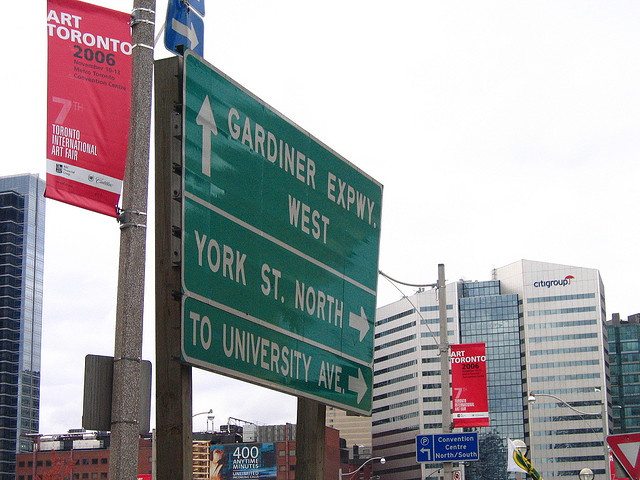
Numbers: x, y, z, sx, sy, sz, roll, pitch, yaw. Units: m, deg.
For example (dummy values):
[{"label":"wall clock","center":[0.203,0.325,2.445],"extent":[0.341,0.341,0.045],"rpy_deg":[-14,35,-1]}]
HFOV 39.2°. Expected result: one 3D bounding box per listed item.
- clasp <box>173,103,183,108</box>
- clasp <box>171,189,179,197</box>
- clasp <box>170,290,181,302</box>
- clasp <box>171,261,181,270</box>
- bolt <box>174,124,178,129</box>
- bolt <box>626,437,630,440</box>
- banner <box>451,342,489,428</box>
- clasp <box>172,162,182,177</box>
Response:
[{"label":"clasp","center":[-1.563,-1.479,9.889],"extent":[0.078,0.053,0.019],"rpy_deg":[0,2,-21]},{"label":"clasp","center":[-1.565,-0.509,9.730],"extent":[0.070,0.084,0.012],"rpy_deg":[-3,-10,-8]},{"label":"clasp","center":[-1.530,0.589,9.529],"extent":[0.102,0.122,0.033],"rpy_deg":[1,-5,-10]},{"label":"clasp","center":[-1.527,0.272,9.597],"extent":[0.096,0.052,0.071],"rpy_deg":[4,6,37]},{"label":"bolt","center":[-1.580,-1.243,9.840],"extent":[0.046,0.053,0.011],"rpy_deg":[0,4,-27]},{"label":"bolt","center":[4.379,2.792,12.700],"extent":[0.045,0.028,0.023],"rpy_deg":[-3,-11,-11]},{"label":"banner","center":[4.600,4.378,27.172],"extent":[1.135,2.951,0.328],"rpy_deg":[-3,-37,11]},{"label":"clasp","center":[-1.538,-0.775,9.790],"extent":[0.106,0.173,0.098],"rpy_deg":[-4,-45,-6]}]
